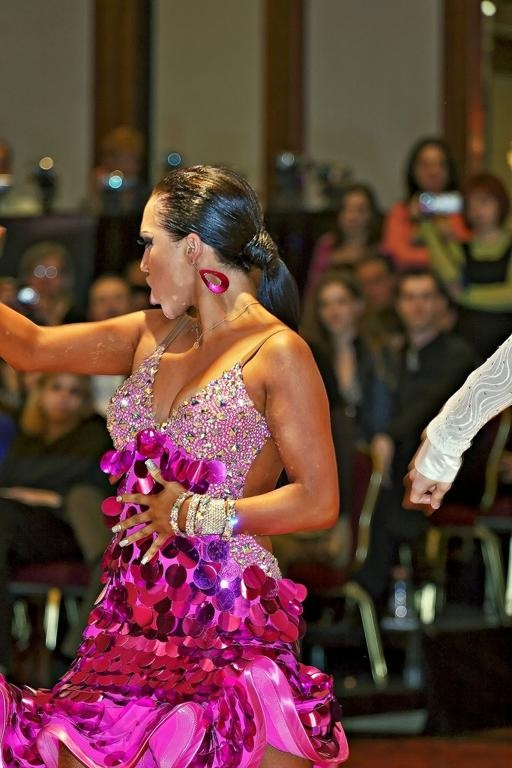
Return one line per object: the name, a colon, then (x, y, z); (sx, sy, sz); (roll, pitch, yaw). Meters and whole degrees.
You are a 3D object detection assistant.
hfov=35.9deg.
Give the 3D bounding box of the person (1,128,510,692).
person: (-0.153, 0.046, 1.527); (0.711, 1.084, 0.677); (-1, -2, -24)
